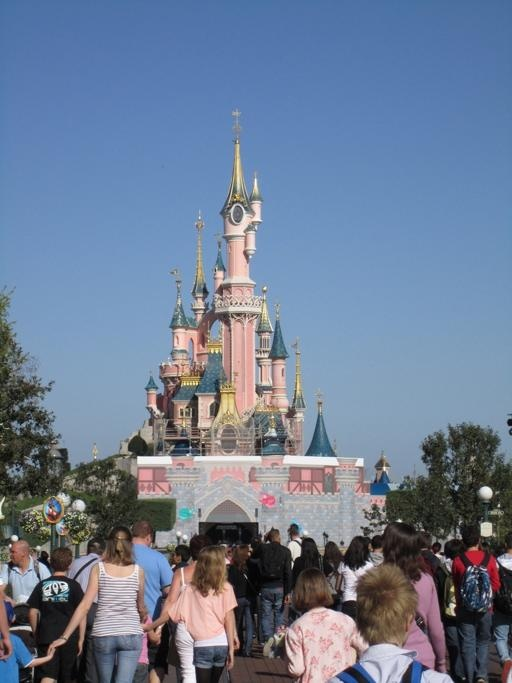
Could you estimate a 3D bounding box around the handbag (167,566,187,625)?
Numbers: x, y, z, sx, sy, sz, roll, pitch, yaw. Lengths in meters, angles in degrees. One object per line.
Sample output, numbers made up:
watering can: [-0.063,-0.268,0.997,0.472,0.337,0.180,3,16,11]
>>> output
handbag: [-0.594,1.867,11.373,0.169,0.269,0.093,4,-12,7]

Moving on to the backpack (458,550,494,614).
backpack: [1.864,2.000,12.546,0.286,0.463,0.262,-6,6,-25]
